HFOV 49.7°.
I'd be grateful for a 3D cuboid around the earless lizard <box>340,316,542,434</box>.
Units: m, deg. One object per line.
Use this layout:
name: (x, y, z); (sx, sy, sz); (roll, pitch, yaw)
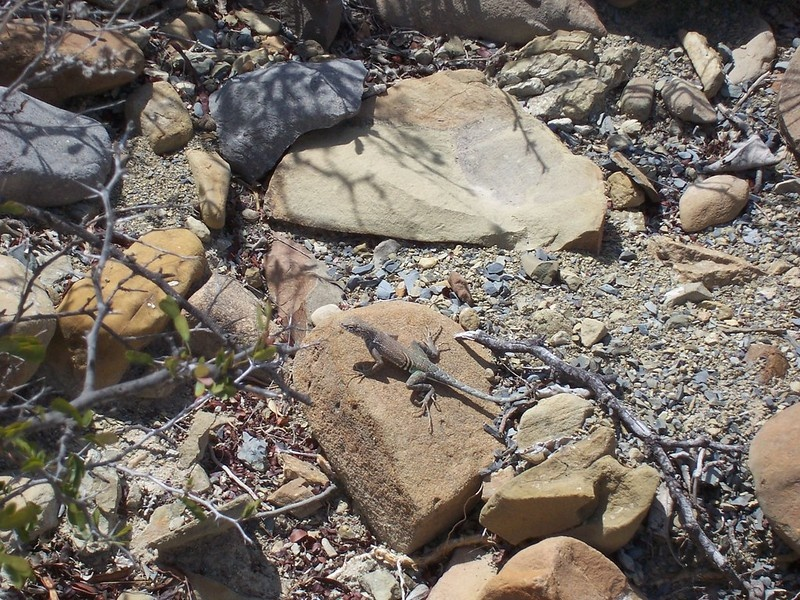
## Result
earless lizard: (0.133, 0.472, 6.079); (1.115, 0.267, 0.758); (18, 52, -5)
